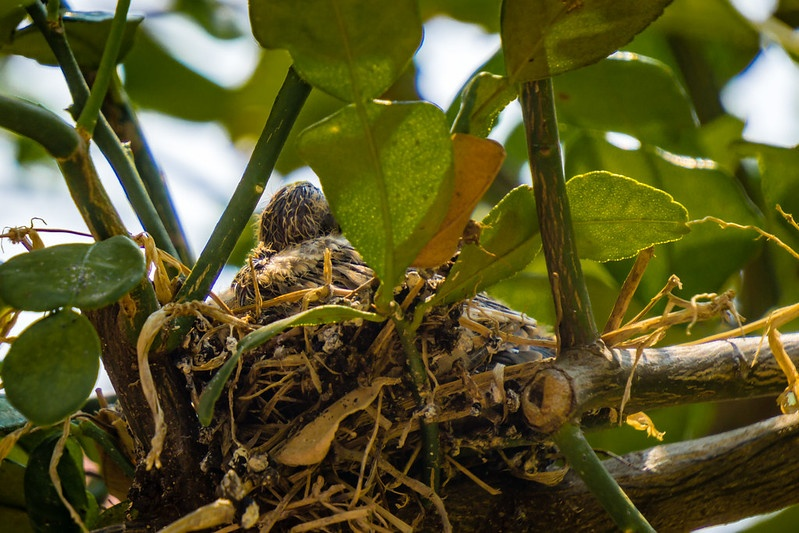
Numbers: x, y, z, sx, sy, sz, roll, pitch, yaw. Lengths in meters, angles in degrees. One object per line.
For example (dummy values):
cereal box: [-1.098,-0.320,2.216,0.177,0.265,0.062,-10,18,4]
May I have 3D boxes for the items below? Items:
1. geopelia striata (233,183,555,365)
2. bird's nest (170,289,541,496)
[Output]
geopelia striata: [-0.029,-0.008,2.050,0.488,0.302,0.311,5,-5,8]
bird's nest: [-0.062,0.171,1.733,0.344,0.161,0.390,-2,19,41]
